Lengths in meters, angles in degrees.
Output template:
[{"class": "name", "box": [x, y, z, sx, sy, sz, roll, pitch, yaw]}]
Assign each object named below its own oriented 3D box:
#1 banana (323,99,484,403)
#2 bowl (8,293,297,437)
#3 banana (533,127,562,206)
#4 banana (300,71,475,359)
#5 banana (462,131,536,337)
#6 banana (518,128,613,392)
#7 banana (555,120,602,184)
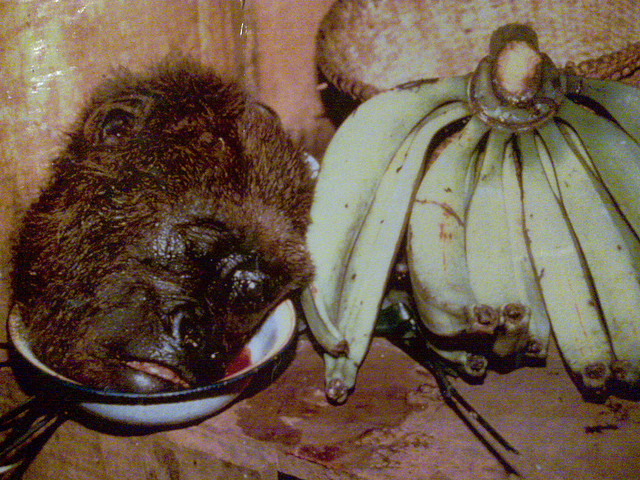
[{"class": "banana", "box": [0.139, 0.012, 1.117, 0.196, 0.519, 0.099, 30, -1, 29]}, {"class": "bowl", "box": [-0.232, 0.224, 1.098, 0.317, 0.091, 0.277, -7, 30, -10]}, {"class": "banana", "box": [0.374, -0.135, 1.132, 0.028, 0.025, 0.186, 11, -15, 33]}, {"class": "banana", "box": [0.120, -0.028, 1.123, 0.199, 0.498, 0.106, 21, 13, -39]}, {"class": "banana", "box": [0.291, 0.000, 1.091, 0.113, 0.328, 0.126, -2, -1, -29]}, {"class": "banana", "box": [0.403, 0.023, 1.113, 0.092, 0.417, 0.147, -18, 3, 6]}, {"class": "banana", "box": [0.410, -0.144, 1.080, 0.017, 0.108, 0.020, -30, 13, 2]}]
